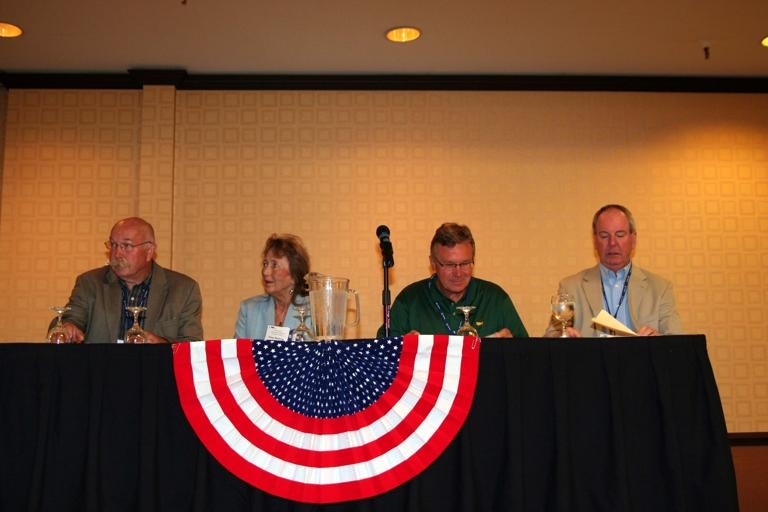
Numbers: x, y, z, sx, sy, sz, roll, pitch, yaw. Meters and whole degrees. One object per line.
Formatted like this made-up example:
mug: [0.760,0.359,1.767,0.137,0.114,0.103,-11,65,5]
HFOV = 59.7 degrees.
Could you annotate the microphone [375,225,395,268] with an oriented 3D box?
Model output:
microphone: [0.007,-0.069,3.387,0.072,0.258,0.078,-10,-39,3]

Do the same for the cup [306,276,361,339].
cup: [-0.244,0.255,3.260,0.253,0.311,0.225,0,1,-8]

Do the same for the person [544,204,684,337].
person: [1.484,0.086,4.222,0.699,0.818,0.485,1,1,15]

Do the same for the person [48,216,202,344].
person: [-1.722,0.178,4.505,0.626,1.025,0.573,-1,-24,-5]

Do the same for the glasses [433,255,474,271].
glasses: [0.423,0.045,4.049,0.239,0.077,0.148,1,1,5]

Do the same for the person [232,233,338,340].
person: [-0.668,0.214,4.333,0.670,0.843,0.433,-2,-11,34]

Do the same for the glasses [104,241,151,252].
glasses: [-1.591,-0.061,4.193,0.276,0.063,0.062,0,1,-32]
